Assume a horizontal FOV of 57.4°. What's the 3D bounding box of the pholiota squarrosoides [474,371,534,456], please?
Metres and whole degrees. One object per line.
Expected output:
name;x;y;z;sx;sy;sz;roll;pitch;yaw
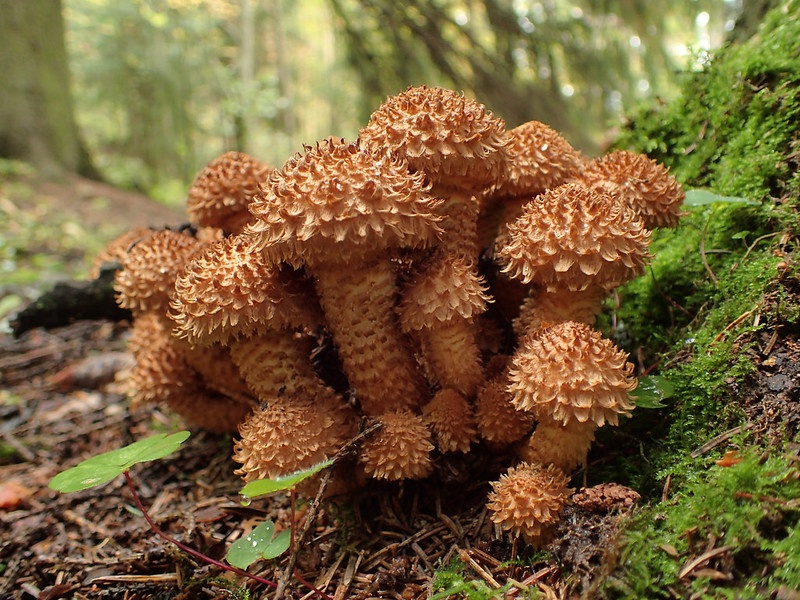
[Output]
pholiota squarrosoides;0.627;0.788;5.052;0.415;0.457;0.424;-19;65;-11

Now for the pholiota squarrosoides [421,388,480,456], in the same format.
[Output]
pholiota squarrosoides;0.350;0.817;4.913;0.413;0.191;0.372;-4;61;-3

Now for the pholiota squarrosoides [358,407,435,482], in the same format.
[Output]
pholiota squarrosoides;-0.006;0.989;4.825;0.453;0.239;0.443;-28;33;-35
